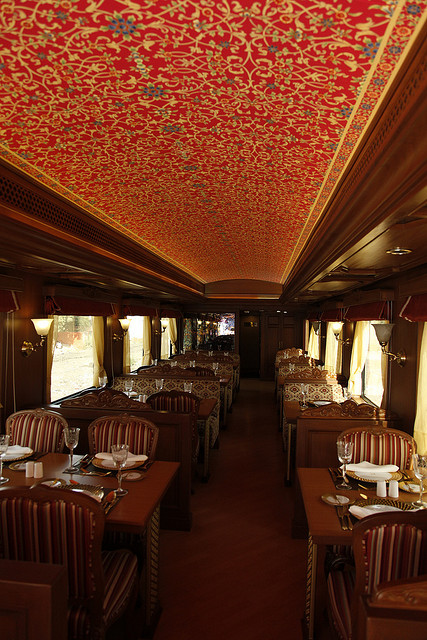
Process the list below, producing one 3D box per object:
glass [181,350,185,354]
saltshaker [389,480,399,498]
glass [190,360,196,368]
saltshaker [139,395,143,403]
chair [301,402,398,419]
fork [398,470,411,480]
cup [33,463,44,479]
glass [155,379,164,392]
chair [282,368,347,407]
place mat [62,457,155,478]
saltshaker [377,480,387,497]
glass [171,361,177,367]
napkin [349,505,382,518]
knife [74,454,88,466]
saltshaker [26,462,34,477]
[{"bbox_3d":[-0.914,0.986,12.946,0.105,0.098,0.073,3,11,12],"label":"glass"},{"bbox_3d":[1.071,0.998,2.527,0.051,0.091,0.109,-1,-3,23],"label":"saltshaker"},{"bbox_3d":[-0.443,0.954,9.278,0.103,0.136,0.100,0,-3,-1],"label":"glass"},{"bbox_3d":[-0.955,1.048,5.636,0.078,0.085,0.077,-1,1,5],"label":"saltshaker"},{"bbox_3d":[1.305,0.851,4.021,0.967,0.169,0.215,1,-3,-18],"label":"chair"},{"bbox_3d":[1.301,1.055,2.899,0.015,0.026,0.074,46,1,2],"label":"fork"},{"bbox_3d":[-1.132,0.972,2.769,0.063,0.100,0.140,1,-3,-17],"label":"cup"},{"bbox_3d":[-0.719,0.901,5.925,0.127,0.146,0.125,2,13,6],"label":"glass"},{"bbox_3d":[1.576,1.051,6.612,0.806,0.486,0.566,0,0,8],"label":"chair"},{"bbox_3d":[-0.766,1.008,2.919,0.187,0.074,0.162,2,0,5],"label":"place mat"},{"bbox_3d":[0.994,0.996,2.516,0.047,0.094,0.065,-1,-3,23],"label":"saltshaker"},{"bbox_3d":[-0.846,0.946,9.087,0.099,0.093,0.071,0,-1,-2],"label":"glass"},{"bbox_3d":[0.780,1.008,2.253,0.099,0.017,0.100,-2,-1,30],"label":"napkin"},{"bbox_3d":[-0.978,1.040,3.167,0.020,0.102,0.012,22,-35,36],"label":"knife"},{"bbox_3d":[-1.183,0.970,2.754,0.047,0.083,0.036,2,-3,-22],"label":"saltshaker"}]
